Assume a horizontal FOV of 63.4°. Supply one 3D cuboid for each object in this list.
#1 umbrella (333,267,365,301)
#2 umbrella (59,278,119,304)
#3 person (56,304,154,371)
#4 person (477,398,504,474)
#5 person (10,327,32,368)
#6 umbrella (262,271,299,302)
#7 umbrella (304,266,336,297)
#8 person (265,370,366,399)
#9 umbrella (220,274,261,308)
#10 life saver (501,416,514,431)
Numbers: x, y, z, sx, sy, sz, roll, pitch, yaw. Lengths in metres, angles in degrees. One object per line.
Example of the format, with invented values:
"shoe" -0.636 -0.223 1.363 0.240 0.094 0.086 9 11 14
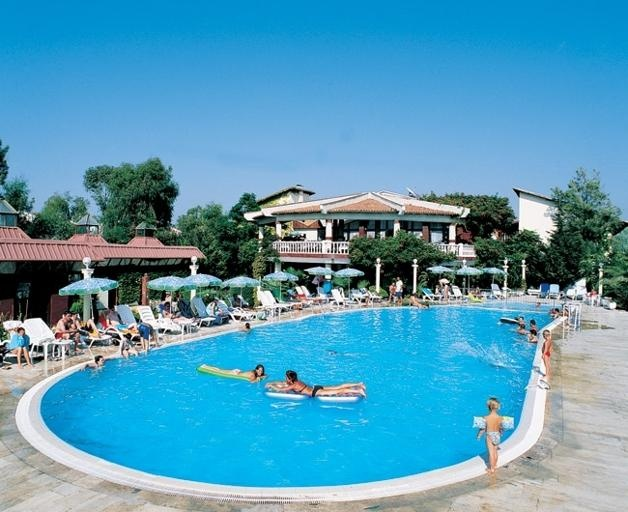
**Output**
"umbrella" 1.891 1.637 31.698 1.947 2.010 1.970 6 11 35
"umbrella" -7.669 1.069 17.350 1.672 0.580 1.043 -2 -1 -7
"person" -7.068 2.890 17.769 2.670 1.056 1.405 0 0 19
"person" 3.476 3.477 10.043 0.472 1.478 0.746 -2 0 18
"person" -8.691 2.674 15.150 0.519 1.053 0.730 -2 0 -38
"umbrella" -1.681 1.747 28.287 1.978 1.860 1.867 -1 10 -19
"umbrella" 0.518 1.427 32.616 1.843 1.795 1.836 5 10 32
"person" 0.101 3.610 13.979 2.481 0.658 0.940 3 -7 8
"umbrella" -3.377 1.724 24.535 1.749 0.970 1.651 0 3 -3
"life saver" 3.848 3.373 10.132 0.184 0.320 0.662 -2 -1 23
